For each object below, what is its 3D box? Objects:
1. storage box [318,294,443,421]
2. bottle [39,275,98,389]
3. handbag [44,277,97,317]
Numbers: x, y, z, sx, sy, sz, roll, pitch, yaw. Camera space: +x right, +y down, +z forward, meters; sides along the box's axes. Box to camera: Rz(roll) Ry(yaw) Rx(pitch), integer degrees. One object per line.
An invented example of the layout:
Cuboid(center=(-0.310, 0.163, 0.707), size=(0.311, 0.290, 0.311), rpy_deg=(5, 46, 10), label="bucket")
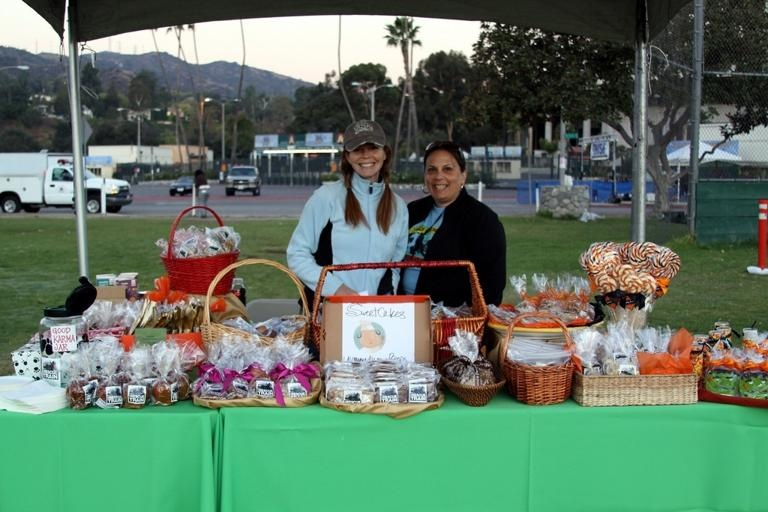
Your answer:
Cuboid(center=(-0.028, 0.700, 6.438), size=(0.905, 0.798, 0.318), rpy_deg=(0, -1, 3), label="storage box")
Cuboid(center=(-2.251, 0.511, 6.368), size=(0.301, 0.876, 0.322), rpy_deg=(2, 0, 0), label="bottle")
Cuboid(center=(-2.205, 0.311, 6.324), size=(0.255, 0.319, 0.261), rpy_deg=(3, 1, -38), label="handbag")
